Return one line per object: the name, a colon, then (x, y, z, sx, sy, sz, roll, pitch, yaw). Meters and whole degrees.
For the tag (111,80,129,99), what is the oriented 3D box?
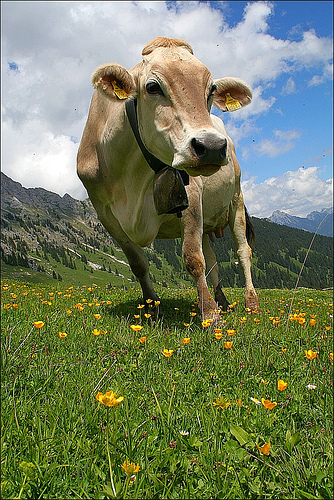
tag: (-0.658, -2.162, 4.294, 0.035, 0.246, 0.207, -30, -5, 40)

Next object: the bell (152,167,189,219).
bell: (0.000, -0.837, 4.601, 0.549, 0.776, 0.410, -7, -1, 12)
